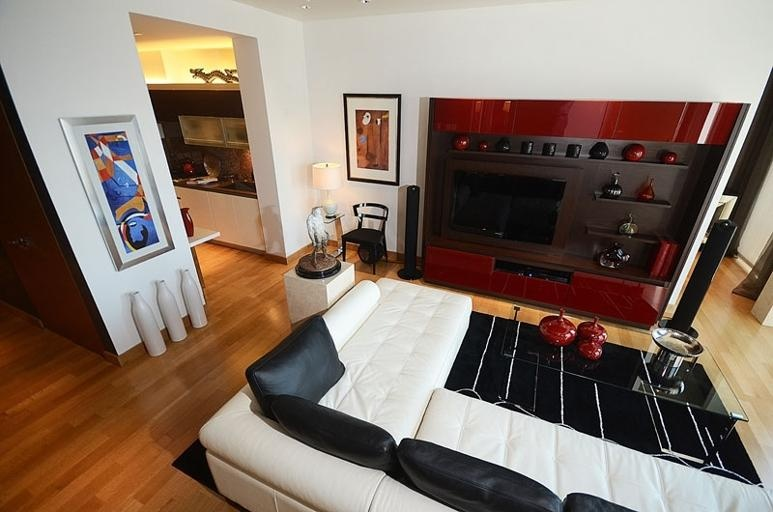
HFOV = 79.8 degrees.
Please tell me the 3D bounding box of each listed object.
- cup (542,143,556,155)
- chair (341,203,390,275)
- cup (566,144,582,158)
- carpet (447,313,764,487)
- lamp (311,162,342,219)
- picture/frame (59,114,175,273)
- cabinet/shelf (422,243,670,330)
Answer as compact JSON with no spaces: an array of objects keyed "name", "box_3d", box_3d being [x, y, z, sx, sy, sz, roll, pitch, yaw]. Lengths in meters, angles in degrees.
[{"name":"cup","box_3d":[1.898,-1.250,5.409,0.154,0.134,0.120,11,44,15]},{"name":"chair","box_3d":[-0.266,-0.243,6.472,0.656,0.950,0.627,11,35,17]},{"name":"cup","box_3d":[2.148,-1.230,5.383,0.159,0.160,0.145,-1,28,0]},{"name":"carpet","box_3d":[2.086,1.277,4.533,0.024,1.527,2.782,-37,32,-32]},{"name":"lamp","box_3d":[-0.851,-0.934,6.546,0.366,0.800,0.610,-1,26,-9]},{"name":"picture/frame","box_3d":[-2.708,-0.657,4.743,0.421,1.480,0.650,21,31,32]},{"name":"cabinet/shelf","box_3d":[1.908,0.335,5.939,2.777,0.634,0.493,11,15,32]}]
